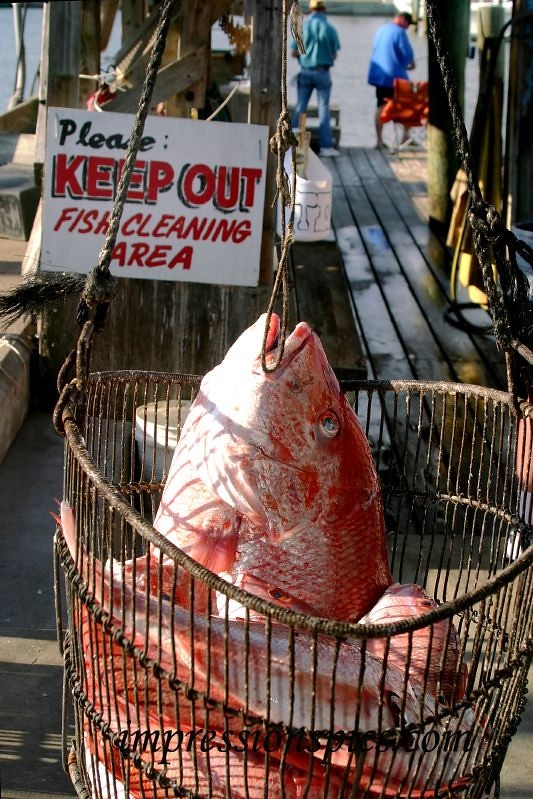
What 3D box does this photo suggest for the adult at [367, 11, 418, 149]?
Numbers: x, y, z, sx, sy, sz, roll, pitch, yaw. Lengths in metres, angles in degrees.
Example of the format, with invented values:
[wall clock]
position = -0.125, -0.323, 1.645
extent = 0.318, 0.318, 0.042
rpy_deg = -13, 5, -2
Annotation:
[adult]
position = 1.098, -2.814, 10.478
extent = 0.399, 1.262, 0.939
rpy_deg = 2, 21, 4

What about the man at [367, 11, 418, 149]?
[man]
position = 1.099, -2.814, 10.480
extent = 0.399, 1.262, 0.944
rpy_deg = 2, 21, 4

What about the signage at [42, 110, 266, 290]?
[signage]
position = -0.354, -0.642, 3.696
extent = 0.804, 0.591, 0.040
rpy_deg = 6, 19, -5
